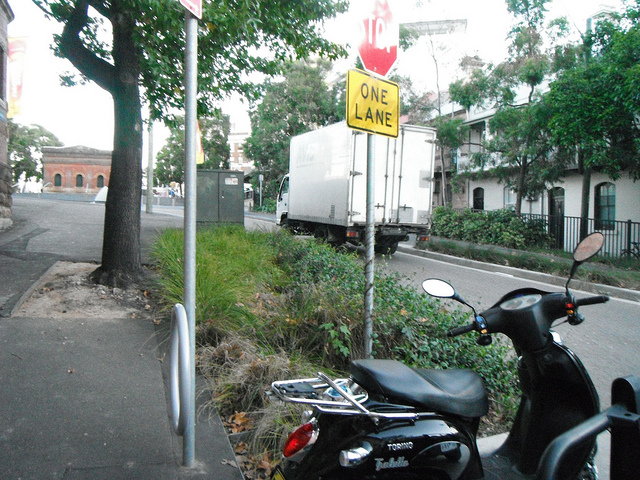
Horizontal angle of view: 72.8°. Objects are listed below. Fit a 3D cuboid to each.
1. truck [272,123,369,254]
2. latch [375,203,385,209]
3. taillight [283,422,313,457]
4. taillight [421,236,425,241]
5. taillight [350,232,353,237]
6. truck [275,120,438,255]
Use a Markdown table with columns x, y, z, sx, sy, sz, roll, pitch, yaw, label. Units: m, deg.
| x | y | z | sx | sy | sz | roll | pitch | yaw | label |
| --- | --- | --- | --- | --- | --- | --- | --- | --- | --- |
| 0.217 | -1.652 | 15.051 | 1.877 | 3.707 | 6.403 | 1 | 7 | -24 | truck |
| 1.650 | -0.946 | 11.932 | 0.235 | 0.115 | 0.074 | 3 | 12 | -11 | latch |
| -0.096 | 1.071 | 2.275 | 0.040 | 0.178 | 0.133 | 45 | -12 | -35 | taillight |
| 2.992 | -0.051 | 12.706 | 0.116 | 0.071 | 0.117 | -10 | -15 | 40 | taillight |
| 0.856 | -0.157 | 11.827 | 0.073 | 0.115 | 0.105 | -3 | 8 | -15 | taillight |
| 0.677 | -1.667 | 15.011 | 2.869 | 3.942 | 6.522 | 0 | 6 | -26 | truck |
